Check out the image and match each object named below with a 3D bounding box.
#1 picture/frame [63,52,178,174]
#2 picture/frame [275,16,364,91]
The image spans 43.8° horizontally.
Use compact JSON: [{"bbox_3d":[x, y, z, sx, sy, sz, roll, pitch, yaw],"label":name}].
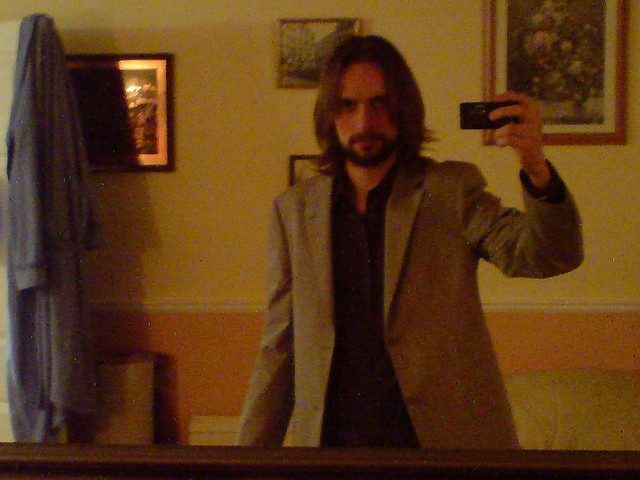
[{"bbox_3d":[-0.433,-0.268,1.692,0.024,0.250,0.318,12,16,30],"label":"picture/frame"},{"bbox_3d":[-0.002,-0.383,1.642,0.171,0.144,0.016,3,10,11],"label":"picture/frame"}]
